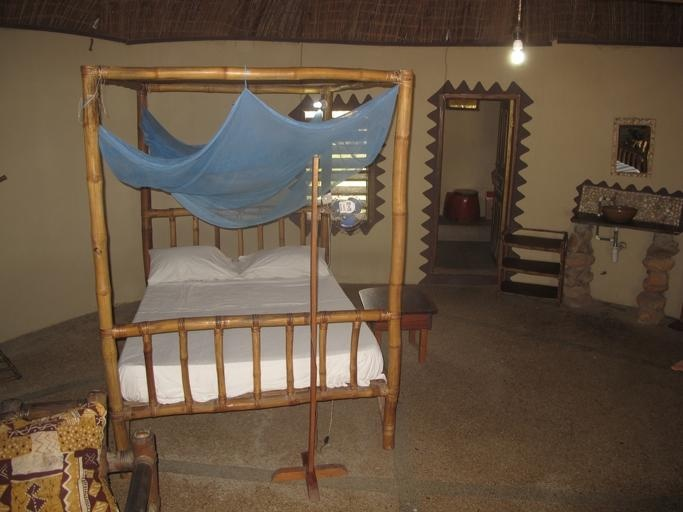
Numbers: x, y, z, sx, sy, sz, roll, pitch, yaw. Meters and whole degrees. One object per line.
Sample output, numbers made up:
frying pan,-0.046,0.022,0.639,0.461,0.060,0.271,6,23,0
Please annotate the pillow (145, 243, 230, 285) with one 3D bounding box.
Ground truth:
pillow,-1.575,0.097,6.472,0.503,0.132,0.522,-4,35,-19

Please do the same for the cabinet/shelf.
cabinet/shelf,2.258,0.111,7.485,0.667,0.770,0.422,7,26,23

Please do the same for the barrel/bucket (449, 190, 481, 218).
barrel/bucket,1.901,-0.808,9.879,0.420,0.387,0.405,1,22,0

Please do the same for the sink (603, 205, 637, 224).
sink,3.124,-0.466,7.112,0.371,0.179,0.254,5,11,15

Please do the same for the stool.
stool,0.532,0.574,6.140,0.696,0.662,0.723,-1,20,-1

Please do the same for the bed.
bed,-0.685,-0.352,5.424,2.391,3.149,3.019,-1,32,-6
